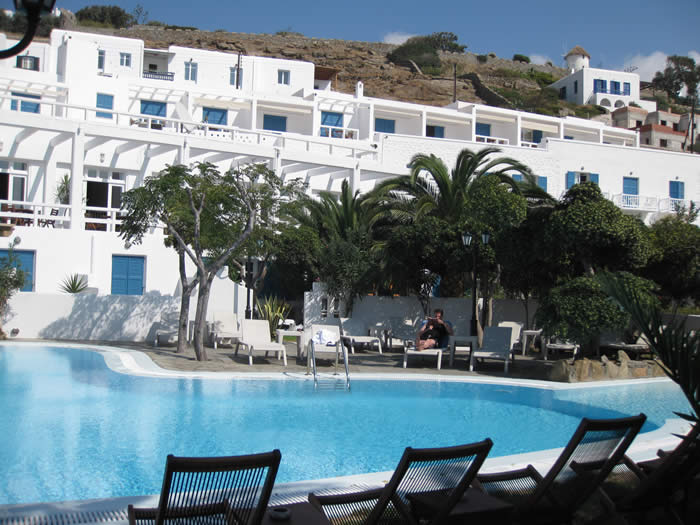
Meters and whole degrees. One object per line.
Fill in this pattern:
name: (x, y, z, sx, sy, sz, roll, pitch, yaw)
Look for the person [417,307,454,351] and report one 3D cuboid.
person: (2.253, 1.786, 18.879, 0.738, 0.642, 1.368, 8, 26, 24)
